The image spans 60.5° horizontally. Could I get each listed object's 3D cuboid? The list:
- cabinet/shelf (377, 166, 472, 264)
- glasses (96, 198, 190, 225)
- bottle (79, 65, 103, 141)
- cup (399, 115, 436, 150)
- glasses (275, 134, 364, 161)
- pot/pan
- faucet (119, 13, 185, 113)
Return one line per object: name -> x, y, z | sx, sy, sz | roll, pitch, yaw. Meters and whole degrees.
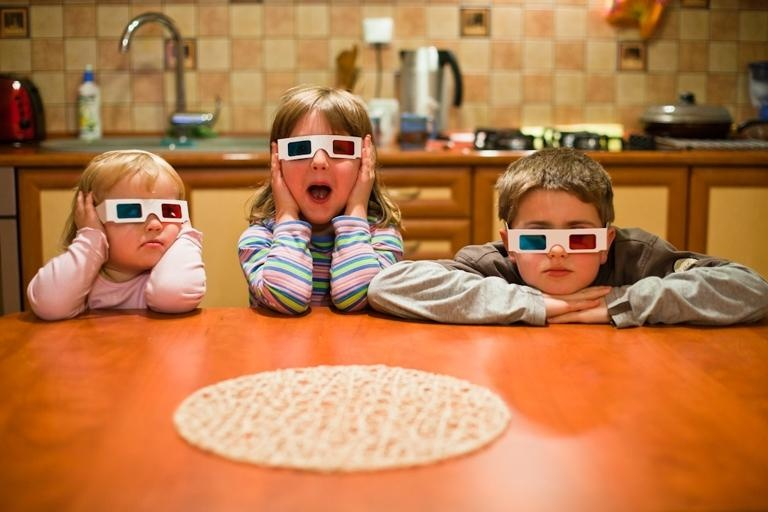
cabinet/shelf -> 0.227, -0.128, 2.577 | 0.431, 0.423, 0.302 | 5, 3, 39
glasses -> -0.522, -0.095, 1.429 | 0.189, 0.060, 0.075 | -3, 11, -22
bottle -> -1.263, -0.659, 2.816 | 0.100, 0.319, 0.169 | -4, 12, -21
cup -> 0.130, -0.480, 2.592 | 0.142, 0.135, 0.140 | 1, 10, 0
glasses -> -0.146, -0.247, 1.510 | 0.185, 0.059, 0.058 | -1, 11, -13
pot/pan -> 1.195, -0.519, 2.569 | 0.347, 0.123, 0.212 | -1, 6, 1
faucet -> -0.955, -0.817, 2.745 | 0.248, 0.417, 0.303 | -3, 11, -19
